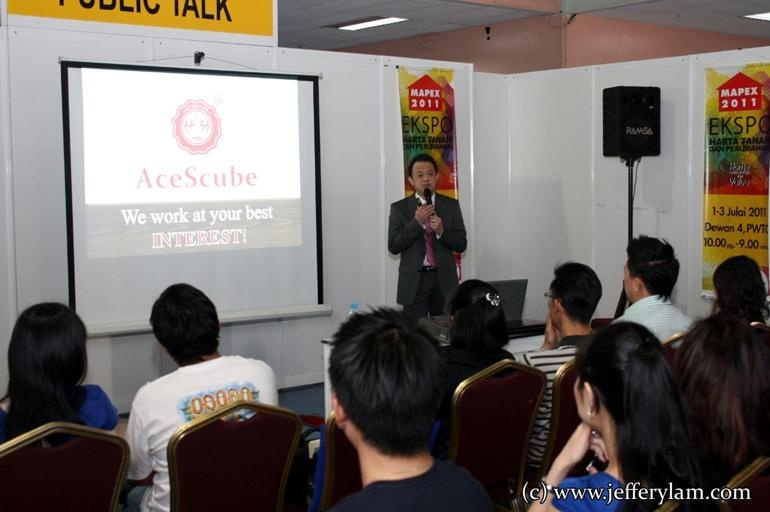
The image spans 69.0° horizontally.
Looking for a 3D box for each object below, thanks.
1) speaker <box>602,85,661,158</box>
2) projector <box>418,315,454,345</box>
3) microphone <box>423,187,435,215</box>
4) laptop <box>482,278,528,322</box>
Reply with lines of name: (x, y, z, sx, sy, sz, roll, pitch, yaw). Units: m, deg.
speaker: (2.467, -1.330, 5.617, 0.516, 0.706, 0.214, 0, 9, 21)
projector: (0.310, 0.451, 3.561, 0.275, 0.072, 0.286, -7, 11, -33)
microphone: (0.408, -0.532, 5.206, 0.072, 0.077, 0.262, -3, 45, -3)
laptop: (0.871, 0.272, 4.016, 0.362, 0.285, 0.296, -1, 27, -10)
